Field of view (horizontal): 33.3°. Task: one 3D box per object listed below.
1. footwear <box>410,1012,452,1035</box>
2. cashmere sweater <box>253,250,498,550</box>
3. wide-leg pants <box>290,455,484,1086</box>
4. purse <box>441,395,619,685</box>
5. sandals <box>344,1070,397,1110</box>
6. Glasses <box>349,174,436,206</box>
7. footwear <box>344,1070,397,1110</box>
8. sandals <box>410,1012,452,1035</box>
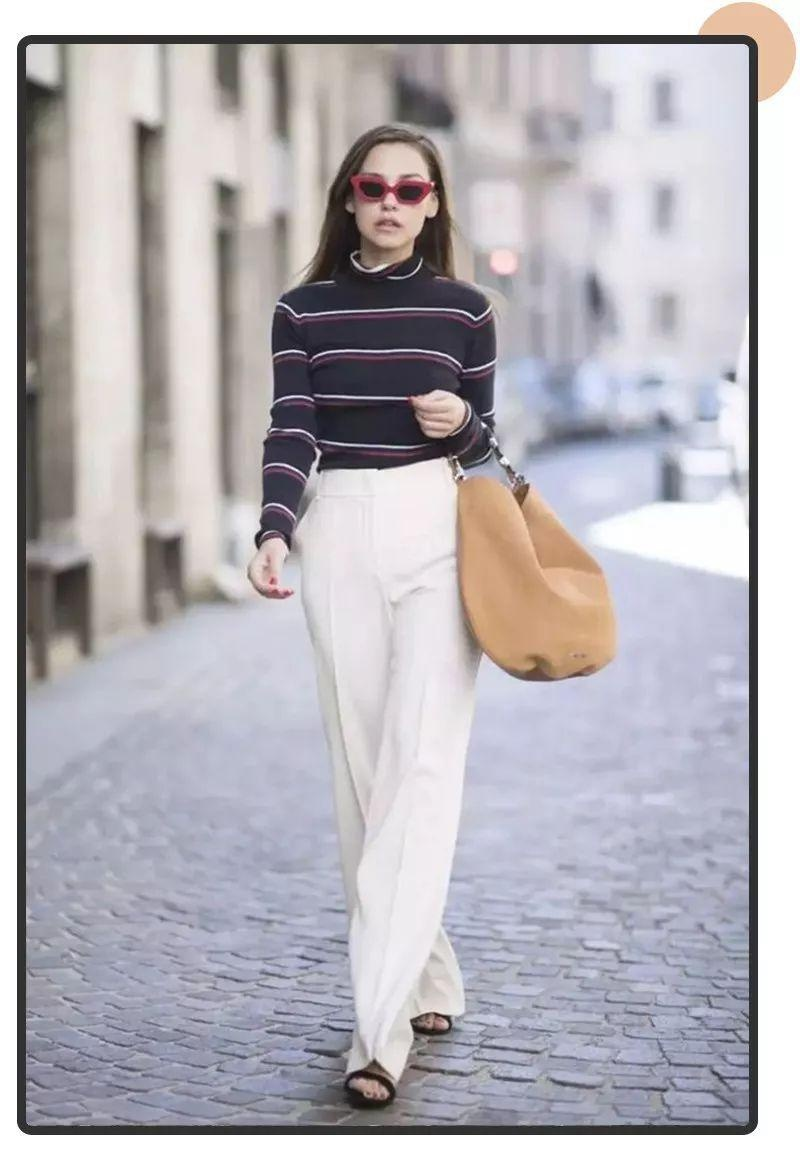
[{"bbox_3d":[0.089,1.275,3.787,0.071,0.030,0.090,0,-2,6],"label":"footwear"},{"bbox_3d":[-0.075,-0.472,3.614,0.589,0.784,0.313,0,-11,-1],"label":"cashmere sweater"},{"bbox_3d":[-0.013,0.476,3.409,0.460,1.534,0.498,-2,6,-4],"label":"wide-leg pants"},{"bbox_3d":[0.337,-0.063,3.437,0.402,0.669,0.425,-1,6,1],"label":"purse"},{"bbox_3d":[-0.076,1.267,3.307,0.117,0.108,0.078,-2,6,-2],"label":"sandals"},{"bbox_3d":[-0.035,-0.999,3.468,0.217,0.088,0.085,0,6,12],"label":"Glasses"},{"bbox_3d":[-0.076,1.267,3.307,0.117,0.108,0.078,-2,6,-2],"label":"footwear"},{"bbox_3d":[0.090,1.271,3.788,0.071,0.030,0.090,0,-2,6],"label":"sandals"}]
